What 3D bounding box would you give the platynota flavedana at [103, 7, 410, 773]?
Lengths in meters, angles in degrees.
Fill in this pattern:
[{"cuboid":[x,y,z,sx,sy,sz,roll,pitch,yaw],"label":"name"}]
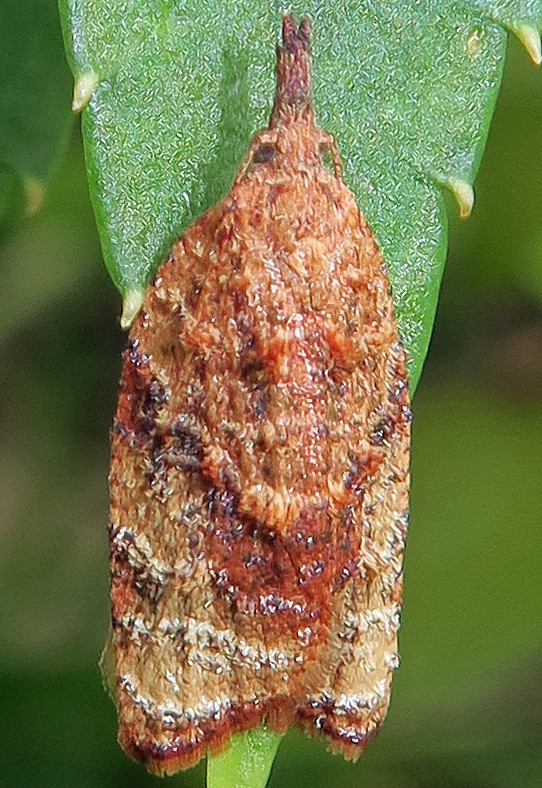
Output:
[{"cuboid":[-0.004,0.031,0.720,0.185,0.110,0.486,2,102,-4],"label":"platynota flavedana"}]
